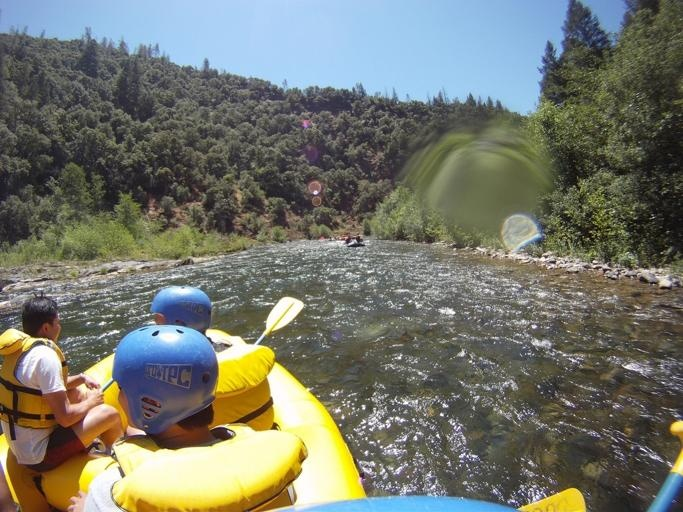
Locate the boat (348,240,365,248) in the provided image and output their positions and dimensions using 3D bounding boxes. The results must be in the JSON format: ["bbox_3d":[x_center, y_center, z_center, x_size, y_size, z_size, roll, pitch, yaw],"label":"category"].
[{"bbox_3d":[0.780,-0.586,25.742,0.911,0.258,1.787,-3,11,-2],"label":"boat"}]

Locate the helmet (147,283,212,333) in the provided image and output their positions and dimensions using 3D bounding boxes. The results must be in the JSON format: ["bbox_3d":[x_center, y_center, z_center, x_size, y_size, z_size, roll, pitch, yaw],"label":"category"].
[{"bbox_3d":[-1.803,0.572,5.255,0.615,0.589,0.474,-6,15,-30],"label":"helmet"}]

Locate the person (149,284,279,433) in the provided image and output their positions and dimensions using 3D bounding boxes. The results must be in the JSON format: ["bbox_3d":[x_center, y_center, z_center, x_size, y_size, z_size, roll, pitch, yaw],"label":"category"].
[{"bbox_3d":[-1.598,1.233,5.321,1.802,0.703,1.342,14,10,21],"label":"person"}]
